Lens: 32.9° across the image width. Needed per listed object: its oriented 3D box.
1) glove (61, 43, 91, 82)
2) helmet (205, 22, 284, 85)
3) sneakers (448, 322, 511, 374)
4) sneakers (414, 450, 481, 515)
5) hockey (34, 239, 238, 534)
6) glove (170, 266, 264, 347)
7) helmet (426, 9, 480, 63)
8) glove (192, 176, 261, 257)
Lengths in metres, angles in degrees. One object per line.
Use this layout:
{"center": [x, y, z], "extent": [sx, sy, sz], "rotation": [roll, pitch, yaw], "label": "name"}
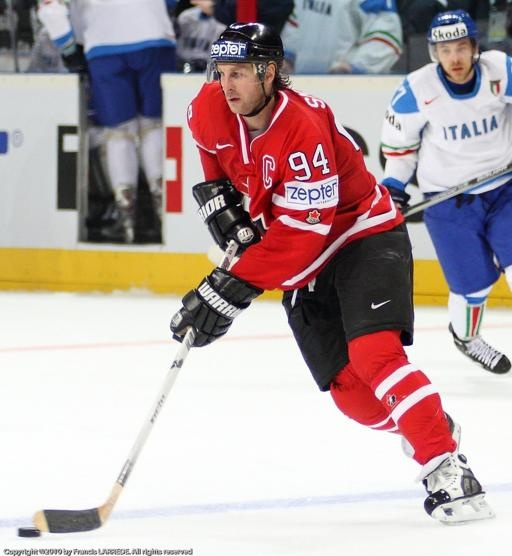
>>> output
{"center": [-1.124, -1.359, 5.393], "extent": [0.181, 0.205, 0.078], "rotation": [19, 37, 31], "label": "glove"}
{"center": [-0.028, -0.560, 2.169], "extent": [0.153, 0.107, 0.129], "rotation": [-1, 0, -34], "label": "helmet"}
{"center": [0.946, 0.310, 3.694], "extent": [0.328, 0.108, 0.166], "rotation": [39, 4, 36], "label": "sneakers"}
{"center": [0.477, 0.501, 2.087], "extent": [0.153, 0.171, 0.127], "rotation": [-3, 31, -3], "label": "sneakers"}
{"center": [-0.231, 0.208, 2.287], "extent": [0.145, 0.142, 1.203], "rotation": [5, 56, 37], "label": "hockey"}
{"center": [-0.102, 0.050, 2.255], "extent": [0.150, 0.262, 0.092], "rotation": [34, 29, -23], "label": "glove"}
{"center": [0.739, -0.940, 3.334], "extent": [0.165, 0.190, 0.211], "rotation": [-8, 14, 22], "label": "helmet"}
{"center": [-0.081, -0.166, 2.507], "extent": [0.149, 0.108, 0.235], "rotation": [-1, 51, -47], "label": "glove"}
